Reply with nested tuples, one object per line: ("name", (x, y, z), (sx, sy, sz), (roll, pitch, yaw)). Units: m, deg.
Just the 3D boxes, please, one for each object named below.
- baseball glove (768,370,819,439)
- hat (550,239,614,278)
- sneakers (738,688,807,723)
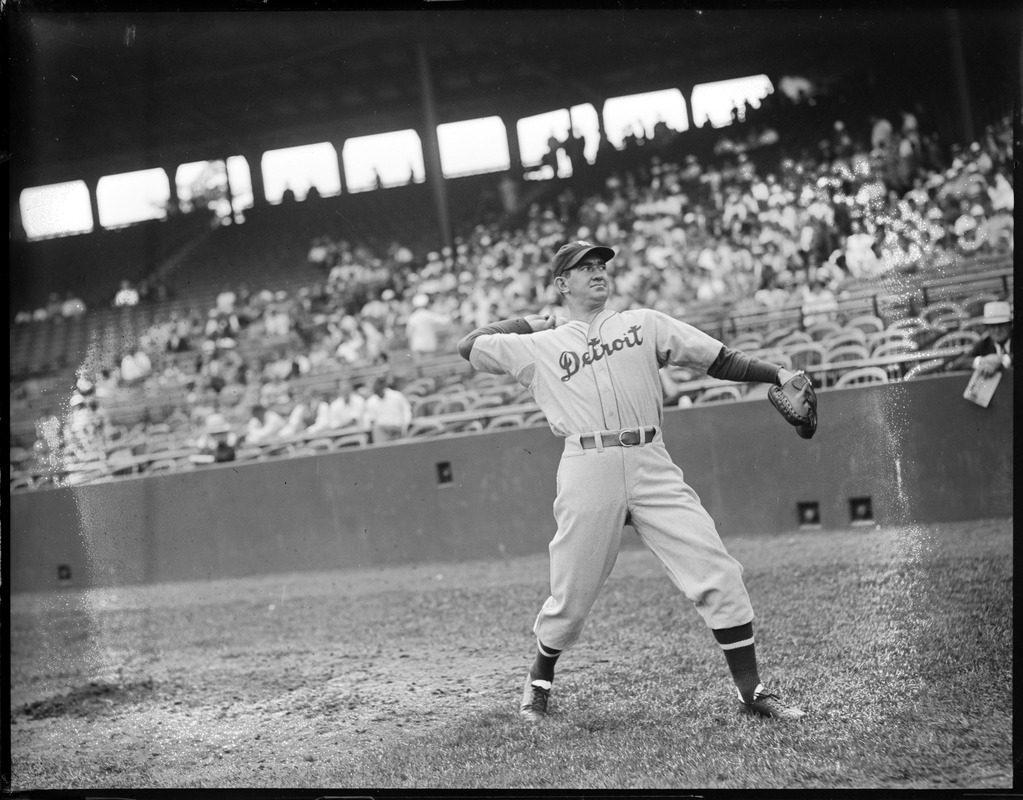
("baseball glove", (1.100, 0.030, 5.693), (0.090, 0.243, 0.187), (-31, -48, 7))
("hat", (0.267, -0.560, 5.893), (0.131, 0.110, 0.201), (-9, -11, -43))
("sneakers", (0.990, 1.155, 5.684), (0.264, 0.120, 0.106), (2, 18, 18))
